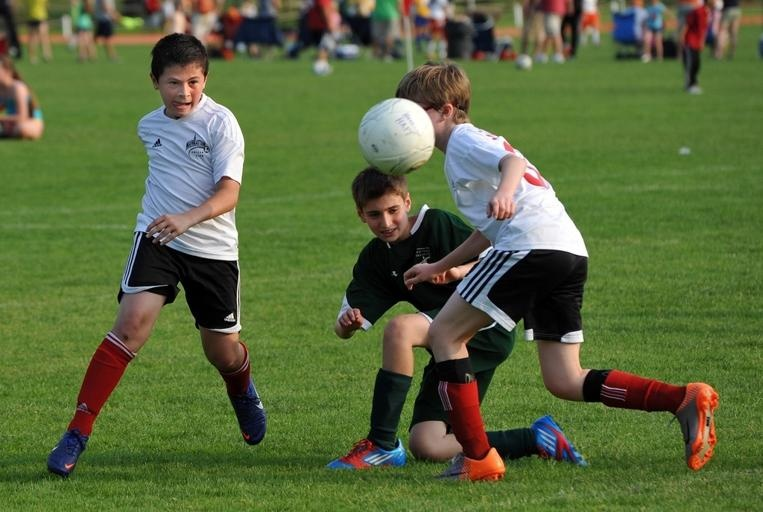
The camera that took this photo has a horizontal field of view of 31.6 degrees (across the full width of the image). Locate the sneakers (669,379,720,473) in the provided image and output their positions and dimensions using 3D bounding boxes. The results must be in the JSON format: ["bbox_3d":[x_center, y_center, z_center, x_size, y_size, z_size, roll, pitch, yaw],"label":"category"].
[{"bbox_3d":[2.193,1.186,9.312,0.234,0.629,0.287,-1,2,-38],"label":"sneakers"}]

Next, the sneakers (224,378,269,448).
[{"bbox_3d":[-0.979,1.213,10.109,0.185,0.550,0.223,-21,-15,-1],"label":"sneakers"}]

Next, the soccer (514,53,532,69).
[{"bbox_3d":[2.712,-3.692,25.357,0.307,0.296,0.349,-7,8,4],"label":"soccer"}]

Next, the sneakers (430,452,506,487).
[{"bbox_3d":[0.611,1.496,9.350,0.510,0.226,0.183,-4,-19,10],"label":"sneakers"}]

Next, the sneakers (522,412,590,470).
[{"bbox_3d":[1.234,1.346,9.687,0.226,0.537,0.193,-44,-19,-15],"label":"sneakers"}]

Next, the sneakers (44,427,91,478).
[{"bbox_3d":[-2.228,1.399,9.525,0.185,0.165,0.432,-21,19,12],"label":"sneakers"}]
